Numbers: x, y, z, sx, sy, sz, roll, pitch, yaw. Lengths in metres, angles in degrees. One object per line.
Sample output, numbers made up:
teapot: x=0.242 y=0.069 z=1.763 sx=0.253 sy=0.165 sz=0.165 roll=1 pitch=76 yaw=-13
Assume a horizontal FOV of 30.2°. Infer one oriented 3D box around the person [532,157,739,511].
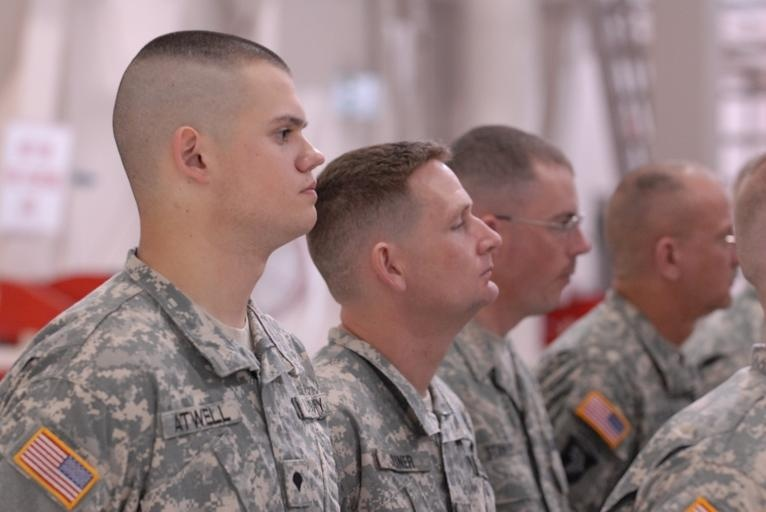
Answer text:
person: x=0.767 y=0.221 z=4.905 sx=0.761 sy=1.308 sz=1.601 roll=1 pitch=4 yaw=9
